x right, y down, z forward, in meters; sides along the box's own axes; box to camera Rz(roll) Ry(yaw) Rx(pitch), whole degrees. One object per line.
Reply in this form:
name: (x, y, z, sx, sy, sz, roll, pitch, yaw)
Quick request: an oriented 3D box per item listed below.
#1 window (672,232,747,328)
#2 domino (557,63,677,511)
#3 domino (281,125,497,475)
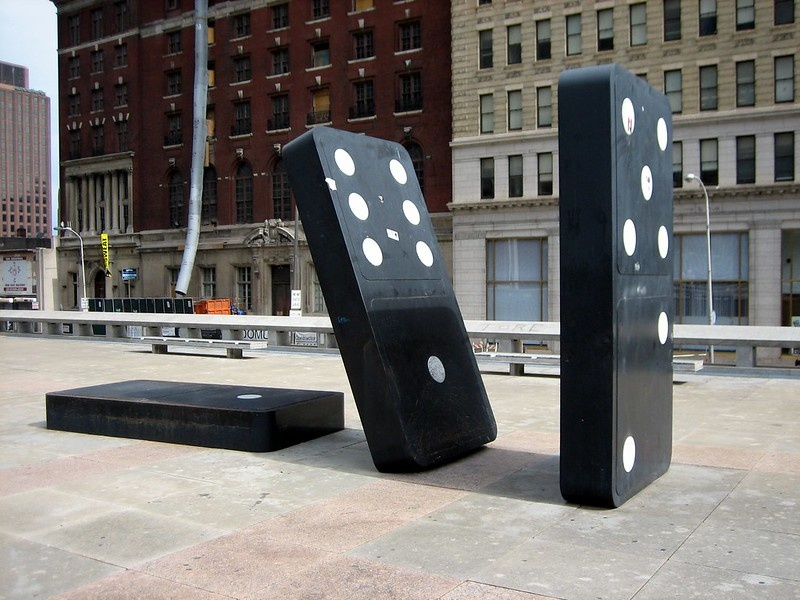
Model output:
window: (14.129, -1.053, 34.035, 4.120, 5.938, 0.275, 0, 1, 37)
domino: (2.191, -0.132, 7.552, 1.512, 4.314, 0.575, -2, 0, -43)
domino: (-0.105, -0.036, 8.975, 2.002, 3.845, 1.317, -2, -1, -44)
